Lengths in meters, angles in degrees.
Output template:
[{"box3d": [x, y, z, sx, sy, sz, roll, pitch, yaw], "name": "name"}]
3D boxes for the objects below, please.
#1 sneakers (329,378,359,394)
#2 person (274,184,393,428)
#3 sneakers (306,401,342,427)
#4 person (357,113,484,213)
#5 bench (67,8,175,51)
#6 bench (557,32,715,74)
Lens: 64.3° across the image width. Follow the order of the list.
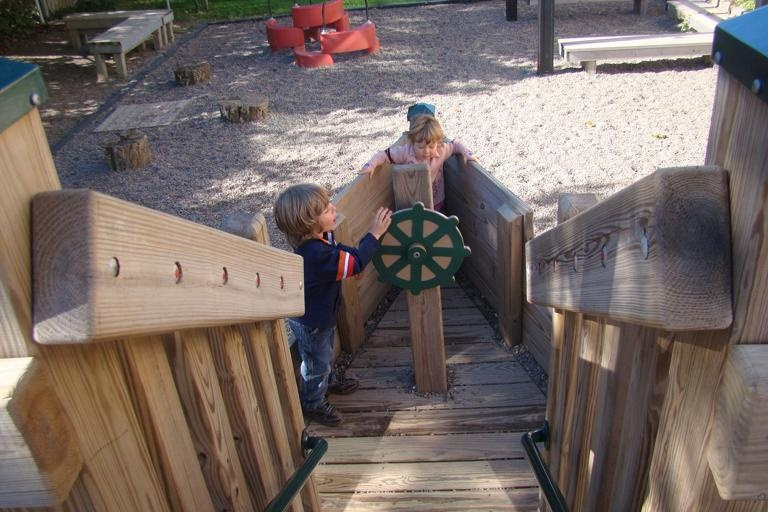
[{"box3d": [-0.219, 0.718, 3.433, 0.170, 0.076, 0.071, -4, 40, -2], "name": "sneakers"}, {"box3d": [-0.240, 0.263, 2.978, 0.713, 1.507, 0.505, 0, 42, -3], "name": "person"}, {"box3d": [-0.312, 0.823, 3.201, 0.228, 0.103, 0.088, 11, 37, 9], "name": "sneakers"}, {"box3d": [0.201, -0.603, 4.174, 0.730, 0.740, 0.646, -8, 24, -11], "name": "person"}, {"box3d": [-5.339, -4.592, 12.192, 1.651, 0.601, 1.129, 6, 34, 6], "name": "bench"}, {"box3d": [3.248, -2.656, 8.006, 1.812, 0.407, 0.658, -1, 23, 7], "name": "bench"}]
